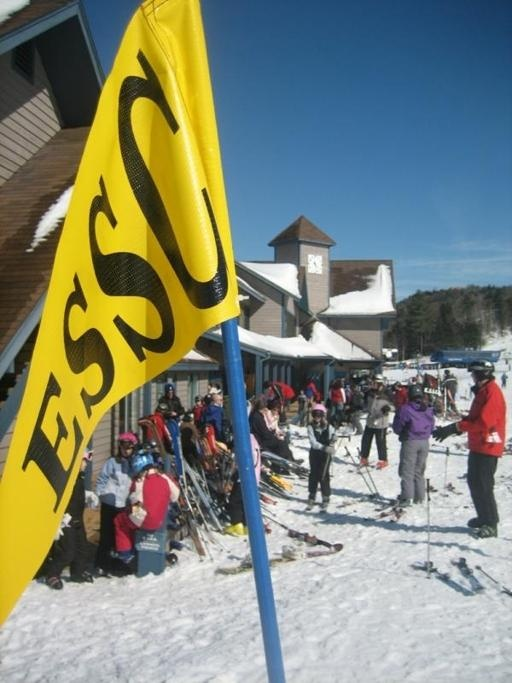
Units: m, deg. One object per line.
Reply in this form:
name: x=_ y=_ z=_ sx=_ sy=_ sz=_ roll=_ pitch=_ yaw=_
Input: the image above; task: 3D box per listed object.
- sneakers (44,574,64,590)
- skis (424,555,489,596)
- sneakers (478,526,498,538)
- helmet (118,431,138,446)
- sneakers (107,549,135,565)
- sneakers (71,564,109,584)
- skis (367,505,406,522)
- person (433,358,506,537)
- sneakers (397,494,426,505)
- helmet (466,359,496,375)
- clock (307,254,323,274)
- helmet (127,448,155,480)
sneakers: x=-1.995 y=2.373 z=6.361 sx=0.082 sy=0.099 sz=0.221 roll=4 pitch=2 yaw=-33
skis: x=1.849 y=2.161 z=5.912 sx=0.235 sy=0.030 sz=0.651 roll=-9 pitch=-1 yaw=1
sneakers: x=2.572 y=2.090 z=7.081 sx=0.192 sy=0.117 sz=0.117 roll=-6 pitch=-1 yaw=-21
helmet: x=-1.432 y=1.080 z=7.185 sx=0.150 sy=0.119 sz=0.212 roll=8 pitch=-14 yaw=-1
sneakers: x=-1.471 y=2.317 z=6.986 sx=0.324 sy=0.177 sz=0.232 roll=0 pitch=-4 yaw=-7
sneakers: x=-1.681 y=2.407 z=6.691 sx=0.459 sy=0.195 sz=0.140 roll=0 pitch=-2 yaw=-3
skis: x=1.879 y=2.331 z=8.785 sx=0.219 sy=0.111 sz=0.332 roll=2 pitch=-2 yaw=38
person: x=2.517 y=1.217 z=7.361 sx=0.693 sy=1.944 sz=1.006 roll=-1 pitch=-6 yaw=16
sneakers: x=2.256 y=2.234 z=9.213 sx=0.431 sy=0.186 sz=0.146 roll=2 pitch=-7 yaw=-17
helmet: x=2.520 y=0.277 z=7.183 sx=0.233 sy=0.180 sz=0.189 roll=17 pitch=4 yaw=33
clock: x=3.711 y=-4.923 z=41.071 sx=1.214 sy=1.221 sz=0.130 roll=14 pitch=-28 yaw=-39
helmet: x=-1.224 y=1.319 z=6.921 sx=0.238 sy=0.309 sz=0.233 roll=3 pitch=-6 yaw=-17
